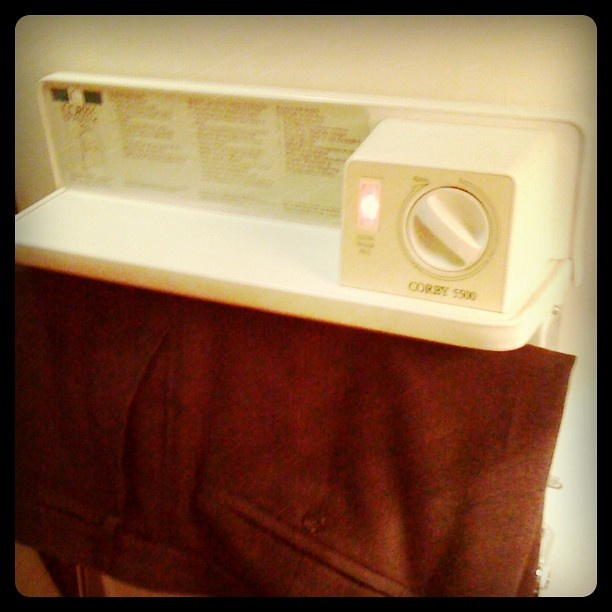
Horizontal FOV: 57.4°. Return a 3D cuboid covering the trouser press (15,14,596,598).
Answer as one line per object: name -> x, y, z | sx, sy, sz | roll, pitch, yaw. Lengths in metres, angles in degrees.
trouser press -> 0.136, -0.035, 1.411 | 0.974, 0.268, 1.166 | -5, 25, 11
